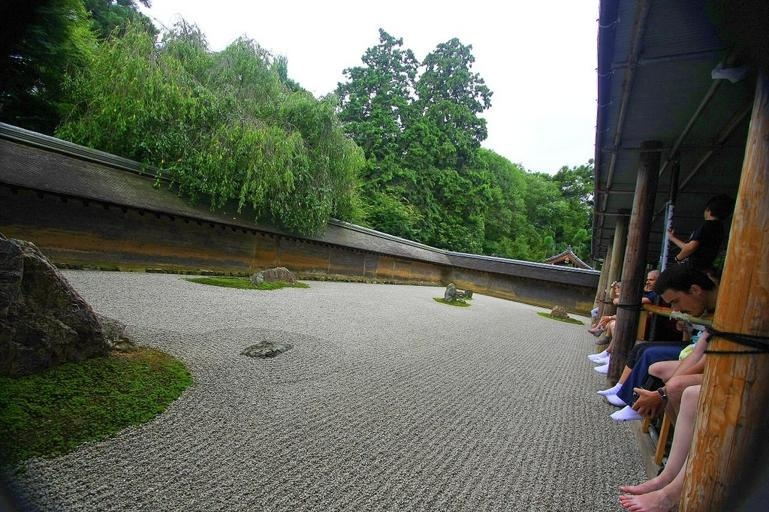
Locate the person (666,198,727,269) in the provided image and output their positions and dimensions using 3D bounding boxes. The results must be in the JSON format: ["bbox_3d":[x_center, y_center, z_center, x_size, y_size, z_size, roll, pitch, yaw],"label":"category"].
[{"bbox_3d":[3.434,-0.271,4.367,0.410,0.819,0.704,17,15,36],"label":"person"}]
